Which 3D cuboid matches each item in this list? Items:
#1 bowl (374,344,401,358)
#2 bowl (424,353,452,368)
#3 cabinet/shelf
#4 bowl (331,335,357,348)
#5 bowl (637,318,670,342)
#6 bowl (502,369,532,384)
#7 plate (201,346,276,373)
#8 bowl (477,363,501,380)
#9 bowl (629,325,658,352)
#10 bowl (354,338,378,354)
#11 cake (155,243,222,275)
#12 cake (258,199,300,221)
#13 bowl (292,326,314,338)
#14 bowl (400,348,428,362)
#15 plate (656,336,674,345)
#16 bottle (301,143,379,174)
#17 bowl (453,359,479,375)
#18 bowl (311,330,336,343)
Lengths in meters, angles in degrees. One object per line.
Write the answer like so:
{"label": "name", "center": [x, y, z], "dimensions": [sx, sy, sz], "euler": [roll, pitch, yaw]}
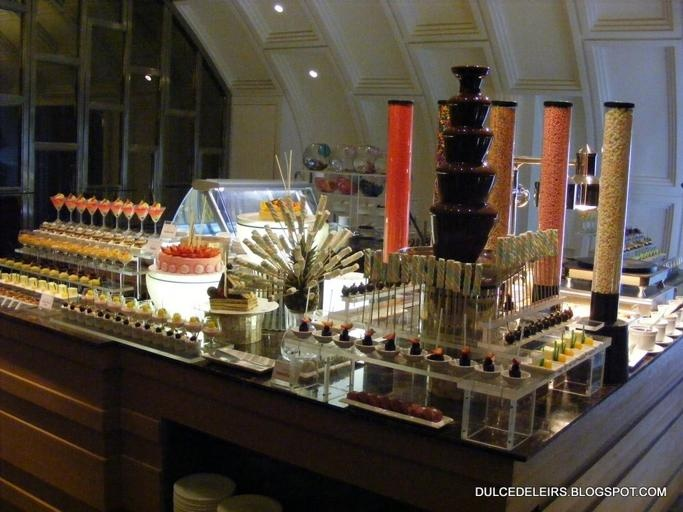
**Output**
{"label": "bowl", "center": [0.182, 0.373, 2.248], "dimensions": [0.101, 0.040, 0.064], "euler": [2, 5, 18]}
{"label": "bowl", "center": [0.371, 0.392, 2.174], "dimensions": [0.096, 0.056, 0.069], "euler": [0, 5, -7]}
{"label": "cabinet/shelf", "center": [0.071, -0.633, 6.683], "dimensions": [1.067, 1.052, 0.354], "euler": [1, 3, 17]}
{"label": "bowl", "center": [0.008, 0.353, 2.380], "dimensions": [0.096, 0.040, 0.101], "euler": [0, 5, 0]}
{"label": "bowl", "center": [1.714, 0.384, 3.099], "dimensions": [0.125, 0.115, 0.152], "euler": [-1, 1, -10]}
{"label": "bowl", "center": [0.636, 0.433, 2.049], "dimensions": [0.108, 0.033, 0.097], "euler": [1, 5, 8]}
{"label": "plate", "center": [-0.483, 0.476, 2.666], "dimensions": [0.381, 0.078, 0.119], "euler": [3, 5, 27]}
{"label": "bowl", "center": [0.539, 0.419, 2.082], "dimensions": [0.088, 0.059, 0.049], "euler": [1, 5, 7]}
{"label": "bowl", "center": [1.577, 0.418, 2.969], "dimensions": [0.125, 0.096, 0.128], "euler": [0, 2, 0]}
{"label": "bowl", "center": [0.098, 0.363, 2.310], "dimensions": [0.082, 0.045, 0.099], "euler": [0, 5, 3]}
{"label": "cake", "center": [-0.900, 0.010, 3.347], "dimensions": [0.388, 0.162, 0.242], "euler": [-1, 5, -13]}
{"label": "cake", "center": [-0.381, -0.276, 3.402], "dimensions": [0.237, 0.092, 0.253], "euler": [2, 6, 5]}
{"label": "bowl", "center": [-0.174, 0.335, 2.494], "dimensions": [0.095, 0.045, 0.071], "euler": [0, 5, -4]}
{"label": "bowl", "center": [0.278, 0.385, 2.217], "dimensions": [0.113, 0.041, 0.070], "euler": [1, 5, 7]}
{"label": "plate", "center": [1.782, 0.463, 3.111], "dimensions": [0.058, 0.015, 0.062], "euler": [-5, 4, 5]}
{"label": "bottle", "center": [-0.007, -1.428, 8.349], "dimensions": [1.110, 0.436, 0.472], "euler": [5, 20, 36]}
{"label": "bowl", "center": [0.466, 0.413, 2.138], "dimensions": [0.103, 0.042, 0.103], "euler": [0, 5, 0]}
{"label": "bowl", "center": [-0.080, 0.345, 2.448], "dimensions": [0.131, 0.041, 0.070], "euler": [3, 6, 31]}
